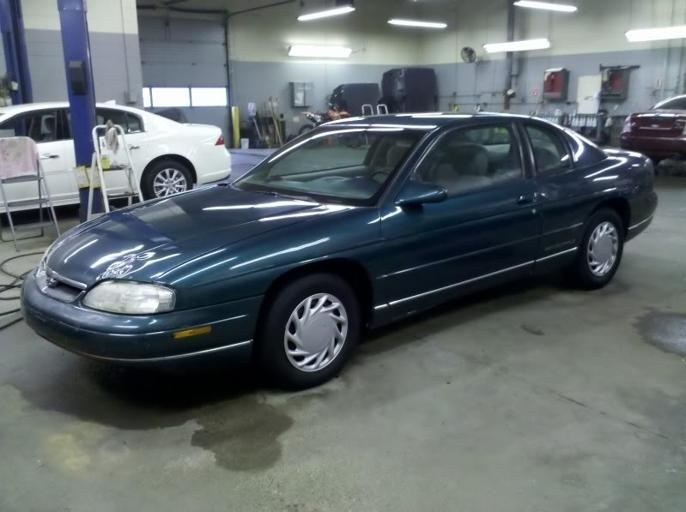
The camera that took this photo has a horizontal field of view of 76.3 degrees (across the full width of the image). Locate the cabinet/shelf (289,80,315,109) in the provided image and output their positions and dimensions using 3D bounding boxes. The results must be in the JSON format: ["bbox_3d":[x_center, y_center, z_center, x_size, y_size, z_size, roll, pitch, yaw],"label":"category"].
[{"bbox_3d":[-1.954,-7.359,19.791,1.094,1.175,0.375,-5,8,-35],"label":"cabinet/shelf"}]

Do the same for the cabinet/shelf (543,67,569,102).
[{"bbox_3d":[8.395,-6.737,17.236,0.895,1.254,0.541,6,19,27],"label":"cabinet/shelf"}]

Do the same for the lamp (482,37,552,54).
[{"bbox_3d":[7.150,-8.648,17.849,2.396,0.499,1.806,6,20,27],"label":"lamp"}]

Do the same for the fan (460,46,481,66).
[{"bbox_3d":[5.744,-9.185,19.902,0.657,0.748,0.735,-15,21,-33],"label":"fan"}]
